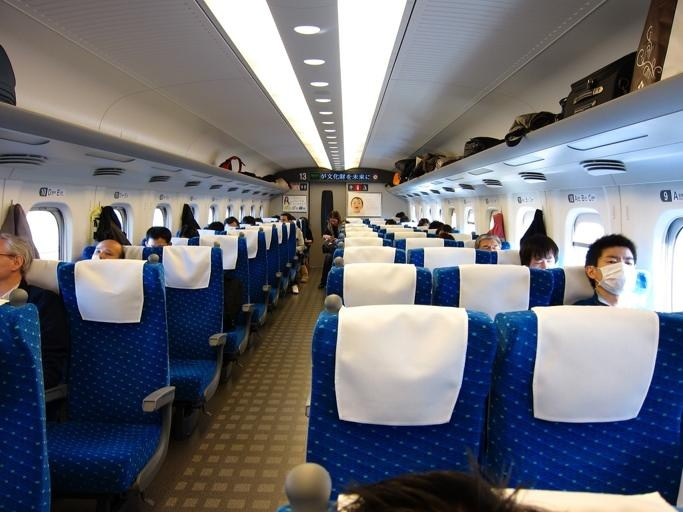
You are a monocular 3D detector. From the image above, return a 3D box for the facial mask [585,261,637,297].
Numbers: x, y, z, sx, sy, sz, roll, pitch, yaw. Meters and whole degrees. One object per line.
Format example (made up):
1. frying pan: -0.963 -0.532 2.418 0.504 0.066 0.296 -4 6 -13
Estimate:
1. facial mask: 2.035 0.178 3.615 0.226 0.181 0.250 1 -4 8
